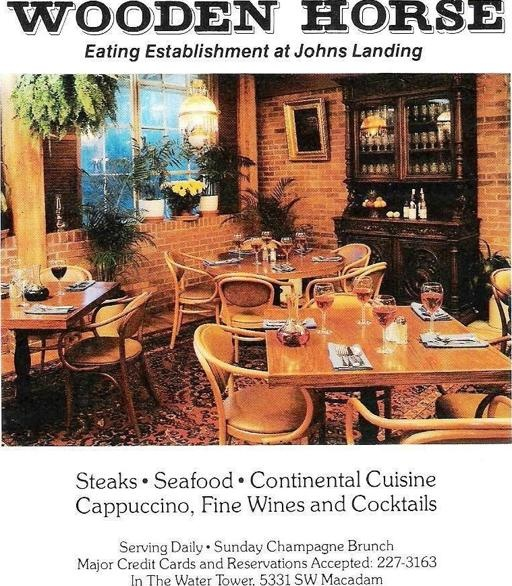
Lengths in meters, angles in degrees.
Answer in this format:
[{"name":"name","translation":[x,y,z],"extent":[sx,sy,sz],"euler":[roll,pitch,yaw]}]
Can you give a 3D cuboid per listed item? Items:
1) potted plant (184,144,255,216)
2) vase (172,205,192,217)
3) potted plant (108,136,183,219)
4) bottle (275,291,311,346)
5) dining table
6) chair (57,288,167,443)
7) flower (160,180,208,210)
[{"name":"potted plant","translation":[-0.485,-1.445,6.759],"extent":[0.906,0.930,0.988],"euler":[1,22,3]},{"name":"vase","translation":[-0.853,-0.926,6.088],"extent":[0.163,0.100,0.155],"euler":[3,7,20]},{"name":"potted plant","translation":[-1.219,-1.255,5.851],"extent":[0.971,0.887,0.814],"euler":[2,6,2]},{"name":"bottle","translation":[0.175,0.118,2.553],"extent":[0.202,0.271,0.193],"euler":[-1,6,0]},{"name":"dining table","translation":[-1.181,0.297,3.239],"extent":[0.467,0.344,0.756],"euler":[3,13,9]},{"name":"chair","translation":[-0.830,0.364,3.398],"extent":[0.854,1.065,0.772],"euler":[3,9,0]},{"name":"flower","translation":[-0.815,-1.082,5.921],"extent":[0.411,0.253,0.381],"euler":[0,5,-1]}]
